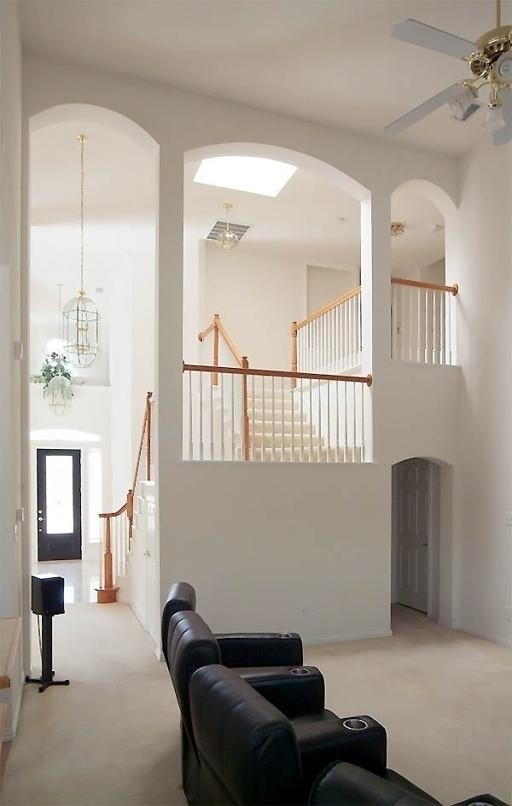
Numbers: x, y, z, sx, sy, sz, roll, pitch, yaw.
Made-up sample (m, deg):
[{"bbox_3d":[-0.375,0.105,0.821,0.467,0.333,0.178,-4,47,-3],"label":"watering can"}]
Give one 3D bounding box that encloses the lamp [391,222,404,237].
[{"bbox_3d":[1.887,-2.327,9.147,0.187,0.078,0.199,-4,-4,24],"label":"lamp"}]
